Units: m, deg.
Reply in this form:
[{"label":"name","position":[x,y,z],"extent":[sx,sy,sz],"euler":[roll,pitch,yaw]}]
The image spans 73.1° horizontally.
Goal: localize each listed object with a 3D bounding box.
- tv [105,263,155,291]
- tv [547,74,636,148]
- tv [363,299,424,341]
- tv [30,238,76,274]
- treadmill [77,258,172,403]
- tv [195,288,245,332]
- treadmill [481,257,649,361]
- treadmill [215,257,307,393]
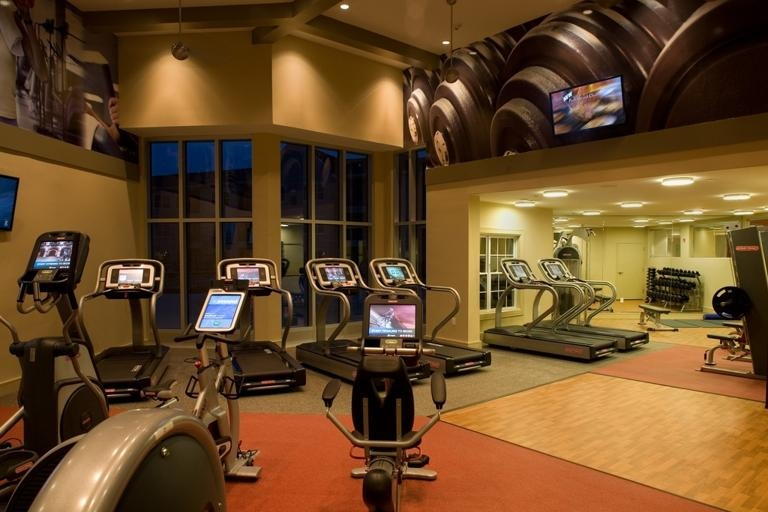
[{"label":"tv","position":[-3.966,0.322,8.081],"extent":[0.749,0.423,0.509],"euler":[-2,-4,18]},{"label":"tv","position":[3.408,-2.340,8.389],"extent":[0.196,1.046,1.429],"euler":[-6,2,-40]},{"label":"tv","position":[0.100,0.720,5.681],"extent":[0.468,0.347,0.064],"euler":[0,-18,9]},{"label":"tv","position":[-3.831,0.012,6.021],"extent":[0.464,0.454,0.050],"euler":[-2,-35,0]},{"label":"treadmill","position":[-3.951,1.087,7.858],"extent":[1.115,1.743,1.953],"euler":[-1,4,-15]},{"label":"tv","position":[-1.666,0.551,5.232],"extent":[0.426,0.440,0.373],"euler":[-2,-3,10]},{"label":"treadmill","position":[3.584,0.989,10.518],"extent":[2.522,1.927,2.304],"euler":[-4,-5,42]},{"label":"treadmill","position":[-1.960,0.996,8.206],"extent":[1.253,2.061,4.672],"euler":[0,-4,-17]}]
